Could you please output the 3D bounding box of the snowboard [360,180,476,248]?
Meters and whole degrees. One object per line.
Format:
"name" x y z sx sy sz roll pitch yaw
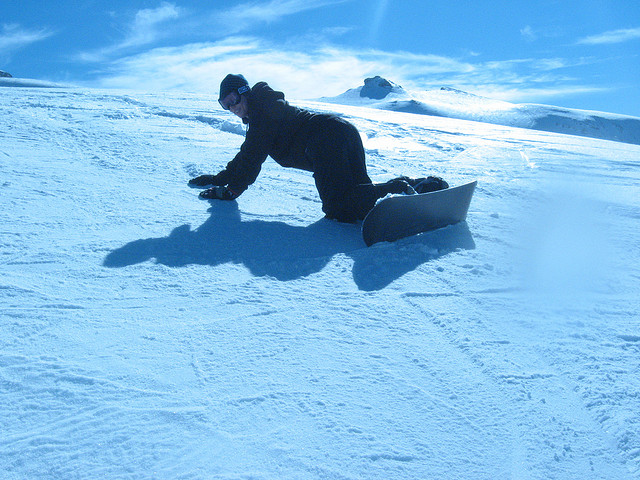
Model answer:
"snowboard" 0.647 -0.181 4.787 0.901 0.348 0.157 -18 48 -39

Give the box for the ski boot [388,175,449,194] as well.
"ski boot" 0.681 -0.395 5.057 0.380 0.070 0.174 7 12 20

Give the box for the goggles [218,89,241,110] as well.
"goggles" -0.646 -1.008 5.187 0.173 0.052 0.137 -5 32 38
